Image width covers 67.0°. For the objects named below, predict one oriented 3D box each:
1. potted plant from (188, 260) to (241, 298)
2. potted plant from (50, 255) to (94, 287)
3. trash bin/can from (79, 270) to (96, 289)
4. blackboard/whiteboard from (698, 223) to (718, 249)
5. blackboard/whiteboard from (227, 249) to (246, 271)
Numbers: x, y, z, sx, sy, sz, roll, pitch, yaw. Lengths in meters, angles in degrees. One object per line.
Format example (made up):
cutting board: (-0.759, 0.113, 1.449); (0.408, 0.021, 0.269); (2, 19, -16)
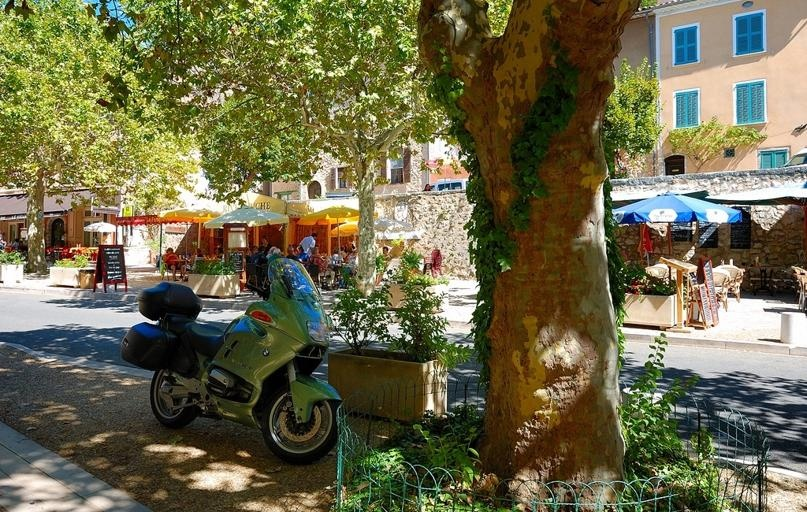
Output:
potted plant: (-6.450, 0.839, 20.889); (1.202, 1.147, 0.884); (5, 5, 31)
potted plant: (-13.032, 0.710, 24.206); (1.999, 1.009, 1.409); (0, -3, 37)
trash bin/can: (-12.197, 0.895, 23.551); (0.631, 0.747, 0.640); (3, 6, 6)
blackboard/whiteboard: (11.707, -0.773, 23.210); (0.853, 1.151, 0.130); (7, 5, 35)
blackboard/whiteboard: (-6.542, 0.195, 23.984); (0.815, 1.109, 0.115); (6, -20, -25)
